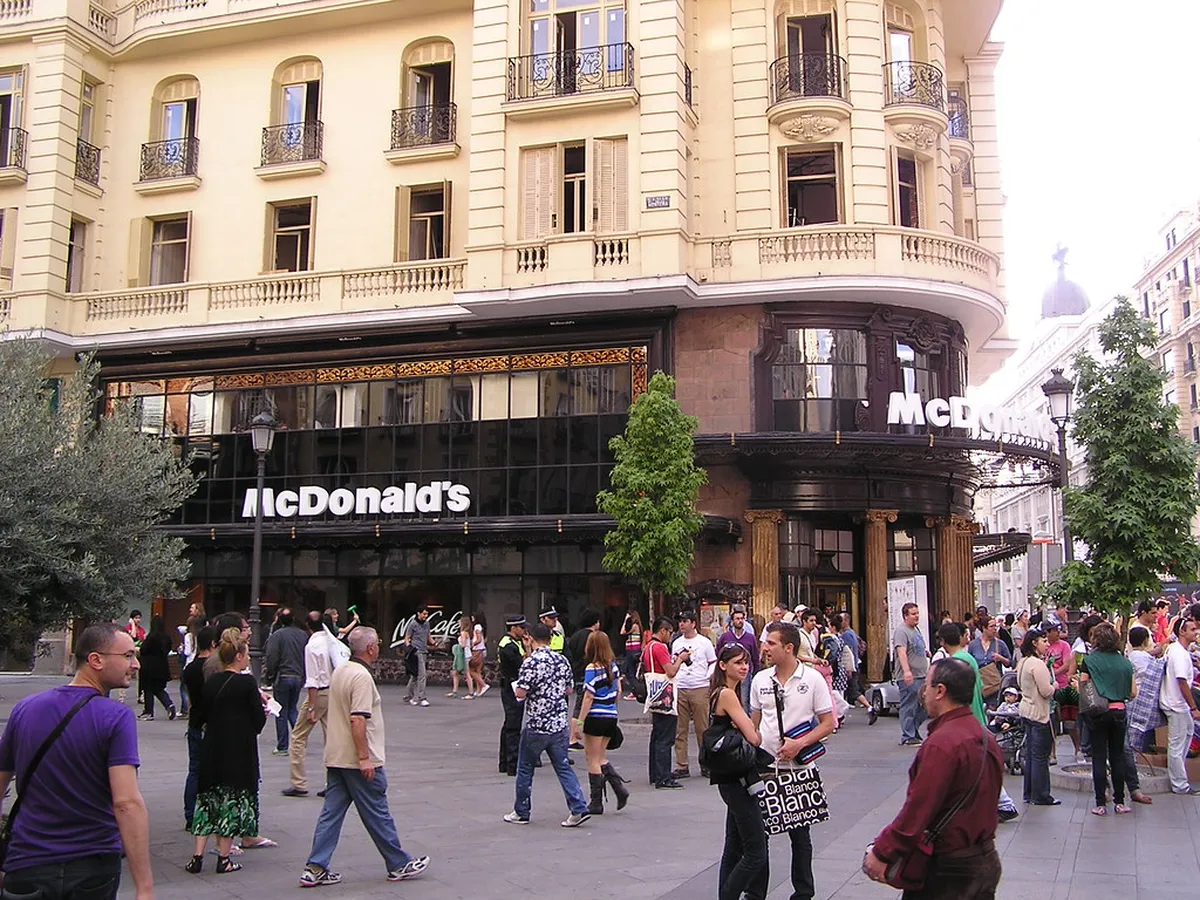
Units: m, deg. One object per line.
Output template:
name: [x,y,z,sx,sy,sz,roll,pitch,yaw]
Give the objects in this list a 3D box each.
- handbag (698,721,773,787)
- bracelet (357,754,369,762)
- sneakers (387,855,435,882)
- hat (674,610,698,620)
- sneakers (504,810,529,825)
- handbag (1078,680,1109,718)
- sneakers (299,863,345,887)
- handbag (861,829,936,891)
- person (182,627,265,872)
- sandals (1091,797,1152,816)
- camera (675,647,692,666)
handbag: [1.192,2.643,10.157,0.607,0.536,0.369,-1,-10,-4]
bracelet: [-2.324,3.034,11.355,0.104,0.068,0.056,-3,-10,6]
sneakers: [-1.871,4.114,11.439,0.461,0.204,0.171,-12,3,-16]
hat: [1.256,2.414,16.862,0.284,0.145,0.389,1,0,22]
sneakers: [-0.993,4.356,13.725,0.310,0.141,0.134,5,-8,6]
handbag: [5.933,2.991,13.936,0.196,0.425,0.430,0,-10,-14]
sneakers: [-2.727,4.132,11.317,0.172,0.212,0.502,0,-3,40]
handbag: [2.081,2.874,8.079,0.468,0.381,0.177,-4,-10,15]
person: [-3.863,3.083,11.995,0.699,2.418,0.425,2,-10,-18]
sandals: [6.357,4.352,14.141,0.554,0.245,0.175,-12,-8,19]
camera: [1.178,2.971,16.623,0.241,0.250,0.110,3,9,-9]
